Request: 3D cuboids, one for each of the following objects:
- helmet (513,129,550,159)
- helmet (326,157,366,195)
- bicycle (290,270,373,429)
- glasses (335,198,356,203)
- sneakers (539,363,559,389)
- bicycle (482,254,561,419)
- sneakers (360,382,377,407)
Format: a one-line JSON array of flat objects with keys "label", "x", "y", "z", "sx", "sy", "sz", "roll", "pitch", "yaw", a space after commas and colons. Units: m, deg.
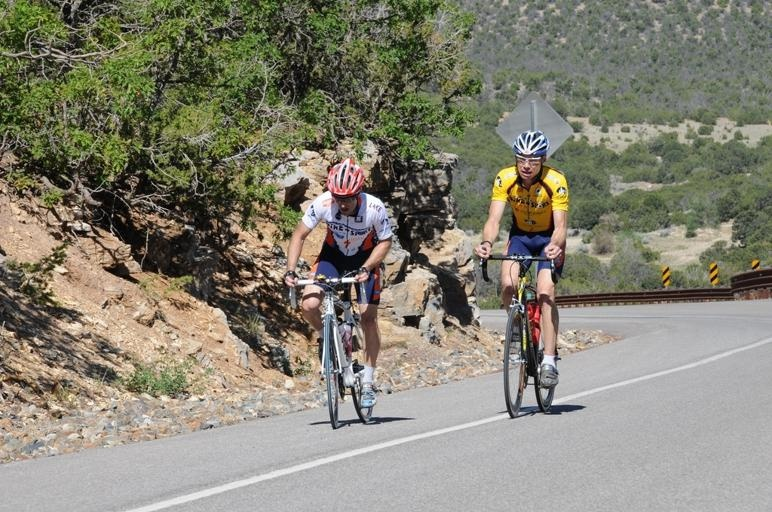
[{"label": "helmet", "x": 1.938, "y": -1.457, "z": 11.961, "sx": 0.421, "sy": 0.363, "sz": 0.330, "roll": -4, "pitch": 13, "yaw": -1}, {"label": "helmet", "x": -0.512, "y": -1.000, "z": 11.541, "sx": 0.386, "sy": 0.266, "sz": 0.535, "roll": 5, "pitch": 50, "yaw": 8}, {"label": "bicycle", "x": -0.684, "y": 1.307, "z": 11.989, "sx": 0.836, "sy": 2.209, "sz": 1.261, "roll": -2, "pitch": 13, "yaw": 11}, {"label": "glasses", "x": -0.526, "y": -0.703, "z": 11.510, "sx": 0.253, "sy": 0.091, "sz": 0.124, "roll": -7, "pitch": 13, "yaw": -11}, {"label": "sneakers", "x": 2.204, "y": 1.625, "z": 12.128, "sx": 0.200, "sy": 0.363, "sz": 0.177, "roll": 3, "pitch": 51, "yaw": 3}, {"label": "bicycle", "x": 1.857, "y": 1.072, "z": 12.063, "sx": 0.574, "sy": 2.389, "sz": 1.159, "roll": 8, "pitch": 18, "yaw": 43}, {"label": "sneakers", "x": -0.248, "y": 1.894, "z": 12.044, "sx": 0.163, "sy": 0.135, "sz": 0.378, "roll": -2, "pitch": 43, "yaw": 0}]
